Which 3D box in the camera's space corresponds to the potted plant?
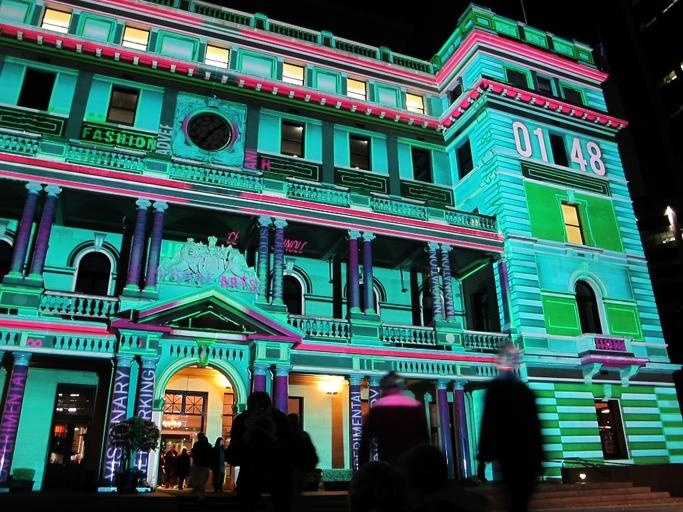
[{"bbox_3d":[-6.422,6.032,17.703,1.427,2.214,1.106,5,-26,-16],"label":"potted plant"}]
